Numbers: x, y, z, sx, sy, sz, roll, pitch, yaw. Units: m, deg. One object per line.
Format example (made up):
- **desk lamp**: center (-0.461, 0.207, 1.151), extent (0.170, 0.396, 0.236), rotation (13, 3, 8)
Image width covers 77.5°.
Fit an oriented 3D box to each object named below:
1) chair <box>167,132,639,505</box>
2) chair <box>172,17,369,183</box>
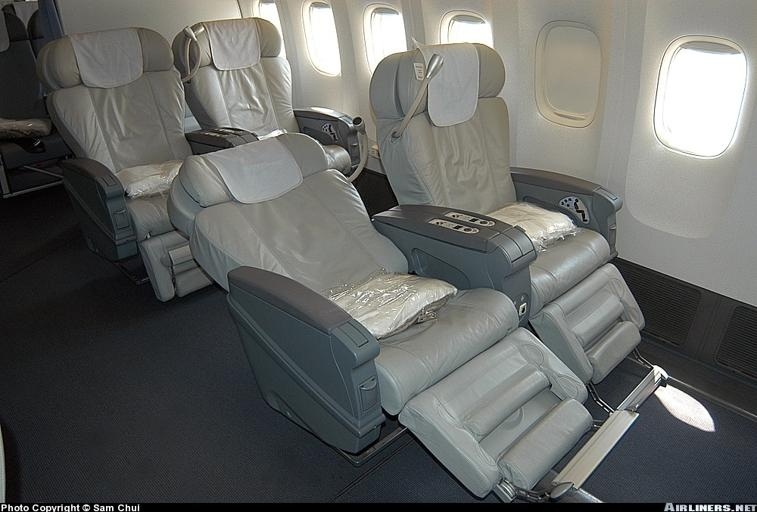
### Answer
- **chair**: center (0.104, 0.242, 2.668), extent (2.672, 1.310, 1.477), rotation (25, 34, 37)
- **chair**: center (-1.048, -1.348, 4.353), extent (1.540, 1.592, 1.482), rotation (7, 28, 20)
